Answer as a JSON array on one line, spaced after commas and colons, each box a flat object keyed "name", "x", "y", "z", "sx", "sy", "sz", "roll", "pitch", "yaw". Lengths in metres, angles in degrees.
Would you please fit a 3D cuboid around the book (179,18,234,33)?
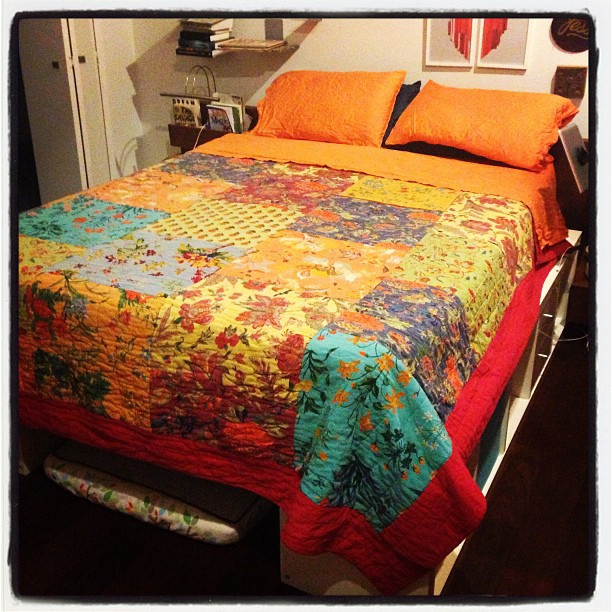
[{"name": "book", "x": -0.586, "y": -1.626, "z": 3.346, "sx": 0.323, "sy": 0.080, "sz": 0.191, "roll": 3, "pitch": 20, "yaw": -1}]

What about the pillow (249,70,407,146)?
[{"name": "pillow", "x": 0.145, "y": -1.004, "z": 2.811, "sx": 0.695, "sy": 0.173, "sz": 0.468, "roll": 8, "pitch": 69, "yaw": 33}]

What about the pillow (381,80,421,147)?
[{"name": "pillow", "x": 0.478, "y": -0.947, "z": 2.844, "sx": 0.149, "sy": 0.303, "sz": 0.235, "roll": -12, "pitch": 35, "yaw": -21}]

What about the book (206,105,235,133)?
[{"name": "book", "x": -0.485, "y": -1.087, "z": 3.324, "sx": 0.201, "sy": 0.177, "sz": 0.027, "roll": 16, "pitch": 41, "yaw": 21}]

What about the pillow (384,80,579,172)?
[{"name": "pillow", "x": 0.753, "y": -0.802, "z": 2.495, "sx": 0.675, "sy": 0.150, "sz": 0.432, "roll": 18, "pitch": 61, "yaw": 24}]

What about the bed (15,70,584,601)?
[{"name": "bed", "x": 0.050, "y": -0.252, "z": 2.117, "sx": 1.613, "sy": 0.743, "sz": 1.830, "roll": 17, "pitch": 38, "yaw": 25}]

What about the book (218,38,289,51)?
[{"name": "book", "x": -0.313, "y": -1.493, "z": 3.272, "sx": 0.366, "sy": 0.085, "sz": 0.237, "roll": 16, "pitch": 23, "yaw": 33}]
